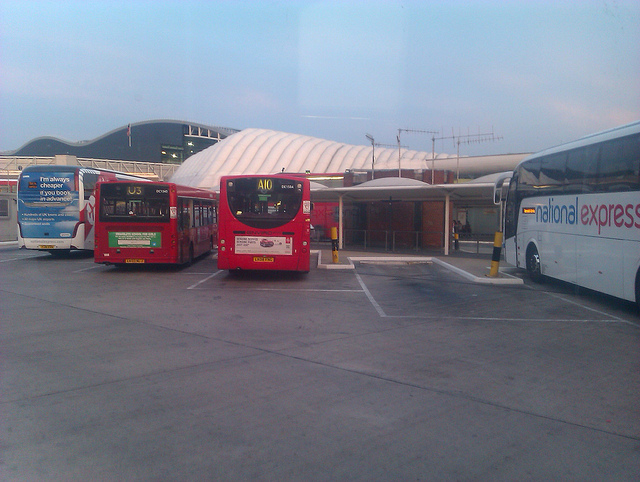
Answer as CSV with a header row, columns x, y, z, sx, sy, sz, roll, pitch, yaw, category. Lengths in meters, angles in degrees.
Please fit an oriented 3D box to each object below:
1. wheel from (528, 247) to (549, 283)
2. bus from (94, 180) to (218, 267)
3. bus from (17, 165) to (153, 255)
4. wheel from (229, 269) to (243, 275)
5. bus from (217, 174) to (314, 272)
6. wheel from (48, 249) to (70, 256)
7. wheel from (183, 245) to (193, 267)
x,y,z,sx,sy,sz,roll,pitch,yaw,category
6.791,0.769,18.087,0.822,0.942,0.878,-1,-8,0,wheel
-6.255,-0.740,23.497,2.704,3.333,8.808,1,3,0,bus
-12.044,-1.825,27.808,3.046,4.089,9.192,1,7,-12,bus
-3.050,1.109,20.415,0.407,0.110,0.425,1,2,0,wheel
-1.877,-0.051,20.618,3.079,3.402,6.239,1,-8,-1,bus
-12.276,0.515,26.838,0.877,0.245,0.988,4,3,37,wheel
-5.105,0.636,22.235,0.138,0.659,0.628,4,6,-6,wheel
